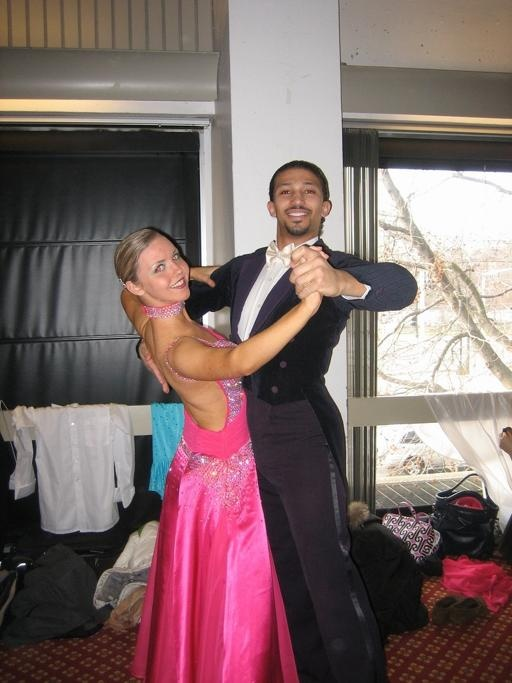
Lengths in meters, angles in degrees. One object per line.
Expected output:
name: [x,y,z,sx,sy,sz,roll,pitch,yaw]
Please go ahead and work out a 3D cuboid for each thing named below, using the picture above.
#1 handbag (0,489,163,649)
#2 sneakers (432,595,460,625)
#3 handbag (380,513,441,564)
handbag: [-0.799,1.024,2.589,0.561,0.223,0.695,6,17,-7]
sneakers: [0.816,1.156,2.505,0.102,0.061,0.190,0,3,22]
handbag: [0.751,0.959,2.802,0.274,0.114,0.234,5,41,41]
